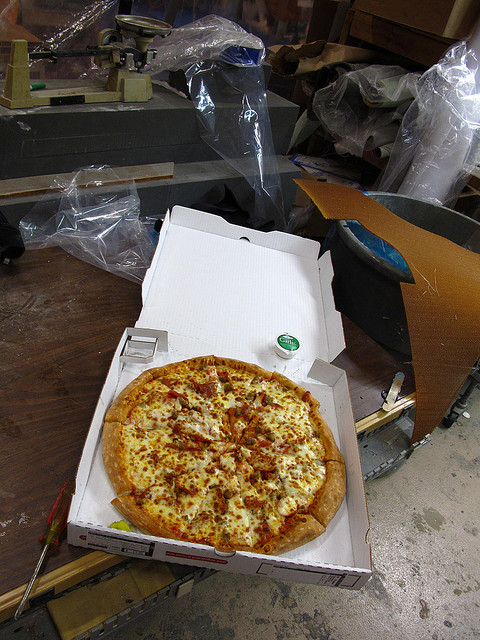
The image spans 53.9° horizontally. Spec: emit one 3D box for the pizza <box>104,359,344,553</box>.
[{"bbox_3d":[-0.022,0.169,0.669,0.325,0.054,0.318,6,45,-9],"label":"pizza"}]
